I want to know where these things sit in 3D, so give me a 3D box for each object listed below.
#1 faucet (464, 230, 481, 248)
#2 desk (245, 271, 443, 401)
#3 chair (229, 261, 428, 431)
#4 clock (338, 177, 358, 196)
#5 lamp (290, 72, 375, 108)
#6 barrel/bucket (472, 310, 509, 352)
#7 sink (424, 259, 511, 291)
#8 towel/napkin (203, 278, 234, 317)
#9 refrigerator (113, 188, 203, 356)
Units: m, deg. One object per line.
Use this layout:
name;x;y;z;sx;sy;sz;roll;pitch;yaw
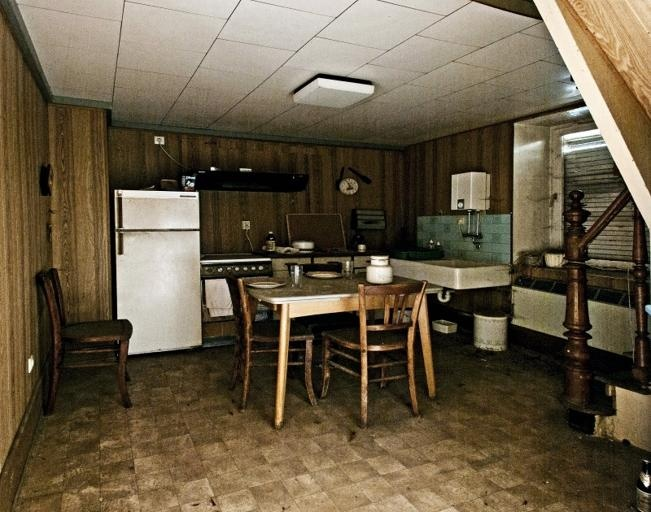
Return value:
faucet;1.656;-0.184;6.007;0.167;0.218;0.236;1;1;-19
desk;0.138;0.571;4.316;1.266;0.746;0.969;-4;8;-14
chair;0.021;0.535;4.114;1.189;0.782;1.228;-2;5;-24
clock;0.304;-0.893;6.849;0.301;0.238;0.080;-8;15;-33
lamp;0.111;-1.443;4.662;0.674;0.220;0.550;-5;12;-22
barrel/bucket;1.699;0.755;5.466;0.396;0.356;0.363;0;4;0
sink;1.509;0.225;5.617;0.699;0.330;0.534;-5;13;-23
towel/napkin;-1.085;0.435;5.450;0.389;0.424;0.040;2;-10;-42
refrigerator;-1.677;0.054;5.410;0.957;1.459;0.843;-3;14;-27
